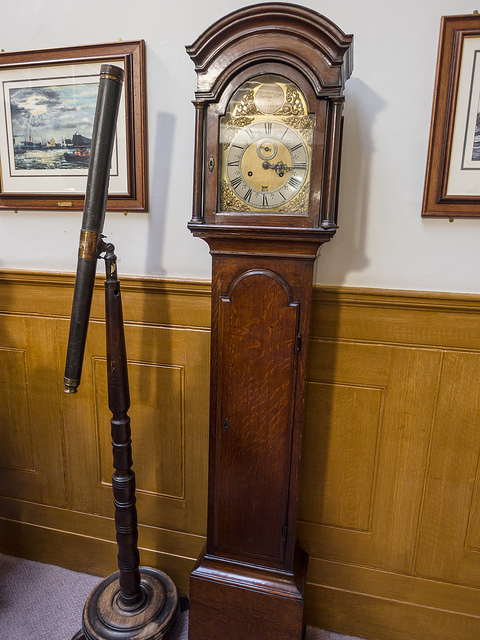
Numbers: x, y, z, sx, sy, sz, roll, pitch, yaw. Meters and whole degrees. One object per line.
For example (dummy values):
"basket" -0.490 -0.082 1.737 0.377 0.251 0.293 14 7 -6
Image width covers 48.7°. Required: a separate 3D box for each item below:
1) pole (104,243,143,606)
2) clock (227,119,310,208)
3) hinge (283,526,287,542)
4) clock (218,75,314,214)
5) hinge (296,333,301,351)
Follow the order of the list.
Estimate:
"pole" -0.265 0.252 1.226 0.116 0.845 0.125 1 9 -19
"clock" 0.060 -0.303 1.004 0.152 0.162 0.019 4 14 16
"hinge" 0.099 0.463 1.152 0.006 0.034 0.006 6 9 16
"clock" 0.051 -0.326 1.012 0.197 0.289 0.034 2 -3 8
"hinge" 0.117 0.046 1.059 0.007 0.032 0.003 1 9 -17
